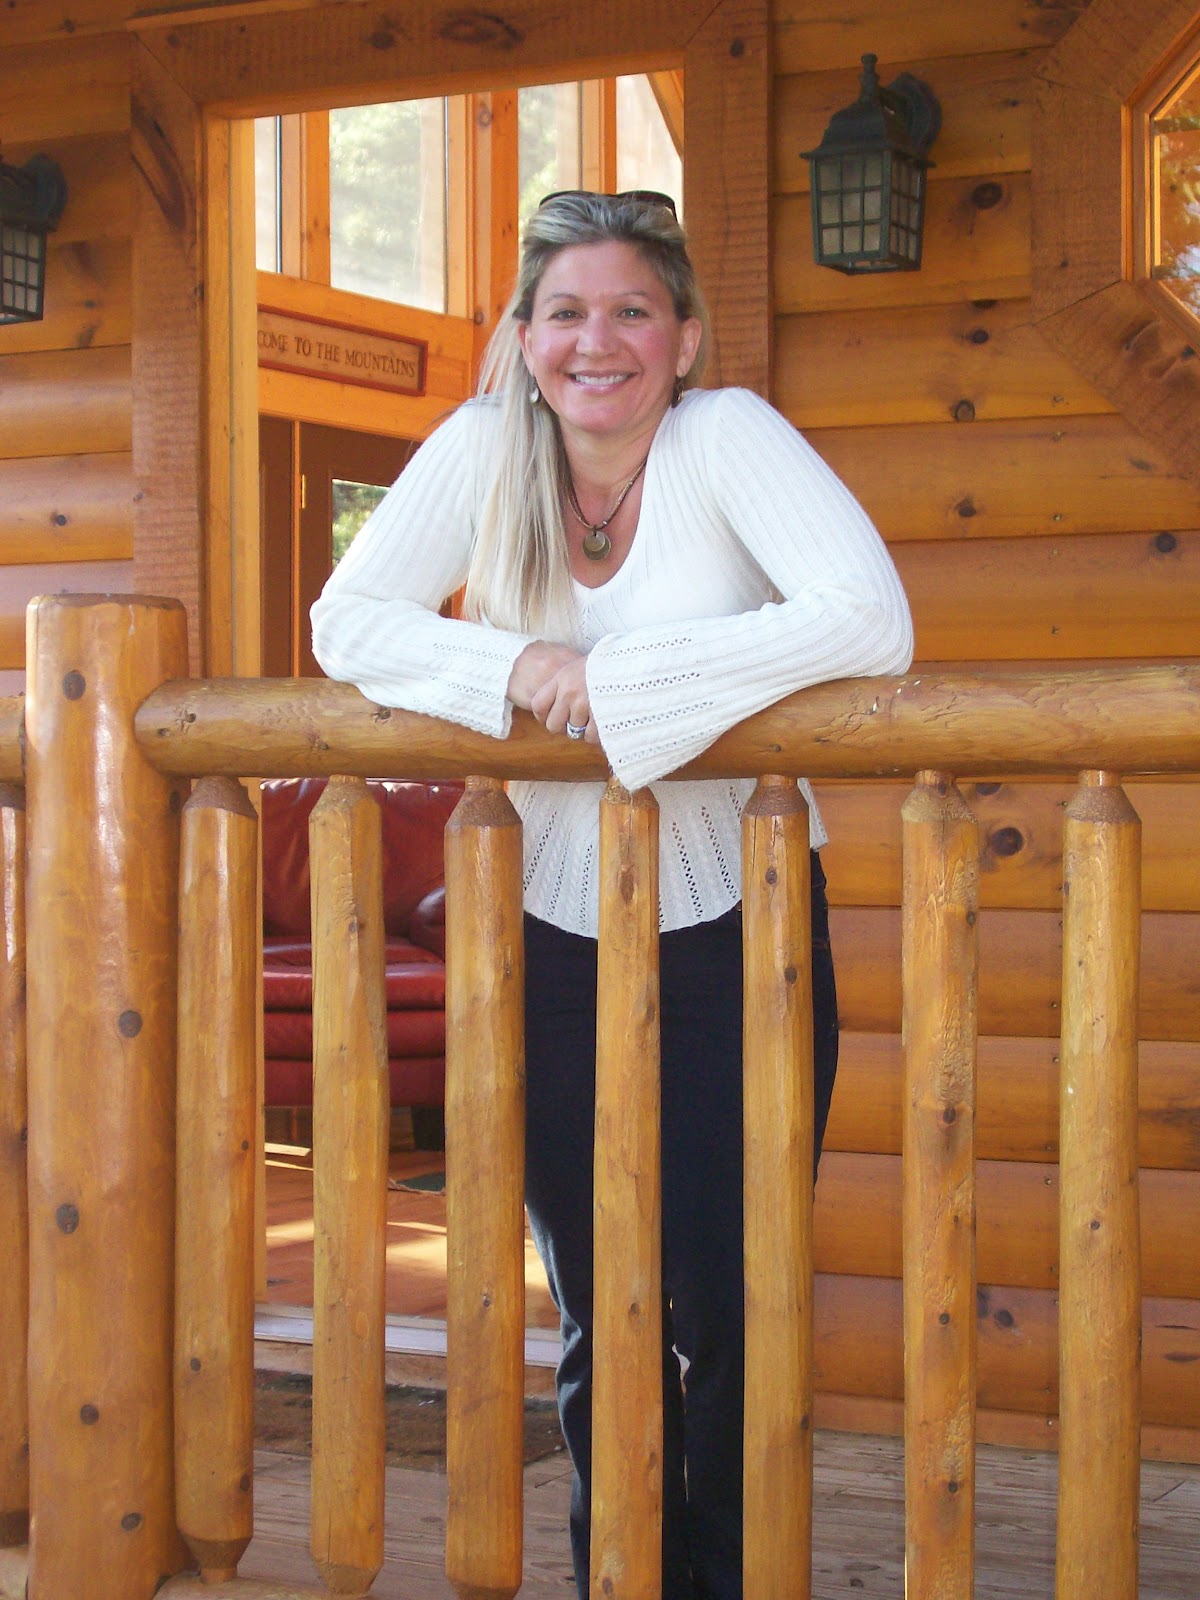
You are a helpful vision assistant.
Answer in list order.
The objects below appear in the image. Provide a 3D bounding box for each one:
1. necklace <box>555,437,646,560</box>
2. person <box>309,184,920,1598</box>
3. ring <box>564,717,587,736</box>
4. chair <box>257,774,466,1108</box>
[{"bbox_3d":[0.006,-0.283,2.252,0.074,0.116,0.029,-1,-10,4],"label":"necklace"},{"bbox_3d":[0.052,0.104,2.219,0.559,1.365,0.491,-3,-6,26],"label":"person"},{"bbox_3d":[-0.018,-0.063,2.020,0.014,0.013,0.004,6,15,23],"label":"ring"},{"bbox_3d":[-0.541,0.299,5.493,0.682,0.697,0.761,0,-5,-3],"label":"chair"}]
